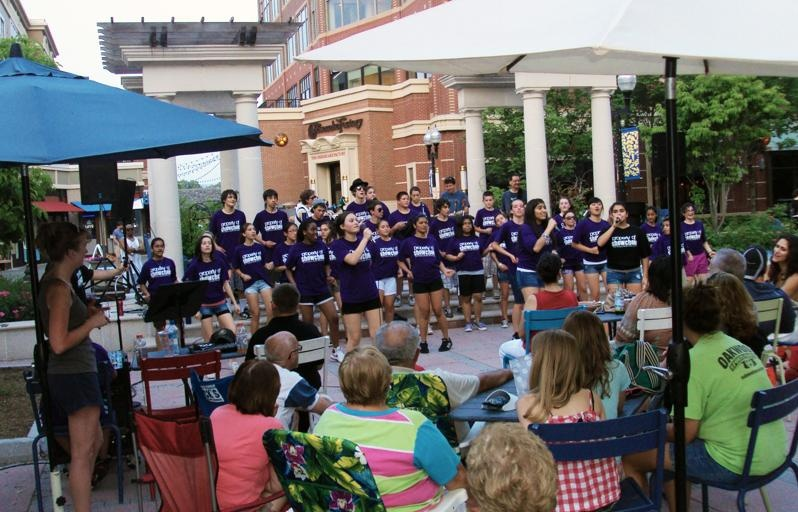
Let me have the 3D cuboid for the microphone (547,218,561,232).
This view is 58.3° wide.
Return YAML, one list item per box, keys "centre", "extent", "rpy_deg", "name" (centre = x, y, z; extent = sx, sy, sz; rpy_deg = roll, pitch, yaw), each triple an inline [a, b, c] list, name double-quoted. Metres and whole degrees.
- centre: [2.724, -0.536, 12.599]
  extent: [0.205, 0.264, 0.453]
  rpy_deg: [-7, 0, 22]
  name: "microphone"

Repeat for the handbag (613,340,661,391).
- centre: [2.188, 1.026, 6.572]
  extent: [0.341, 0.345, 0.200]
  rpy_deg: [6, -25, -34]
  name: "handbag"

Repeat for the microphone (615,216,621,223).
- centre: [3.777, -0.616, 12.307]
  extent: [0.092, 0.092, 0.043]
  rpy_deg: [4, 12, 3]
  name: "microphone"

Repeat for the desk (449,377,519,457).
- centre: [0.865, 1.420, 6.589]
  extent: [0.779, 0.273, 1.210]
  rpy_deg: [2, 7, 14]
  name: "desk"

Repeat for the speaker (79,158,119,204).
- centre: [-3.302, -0.916, 7.776]
  extent: [0.378, 0.678, 0.349]
  rpy_deg: [-4, 26, -30]
  name: "speaker"

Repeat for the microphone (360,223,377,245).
- centre: [-0.497, -0.324, 11.511]
  extent: [0.269, 0.391, 0.143]
  rpy_deg: [0, 15, 18]
  name: "microphone"
